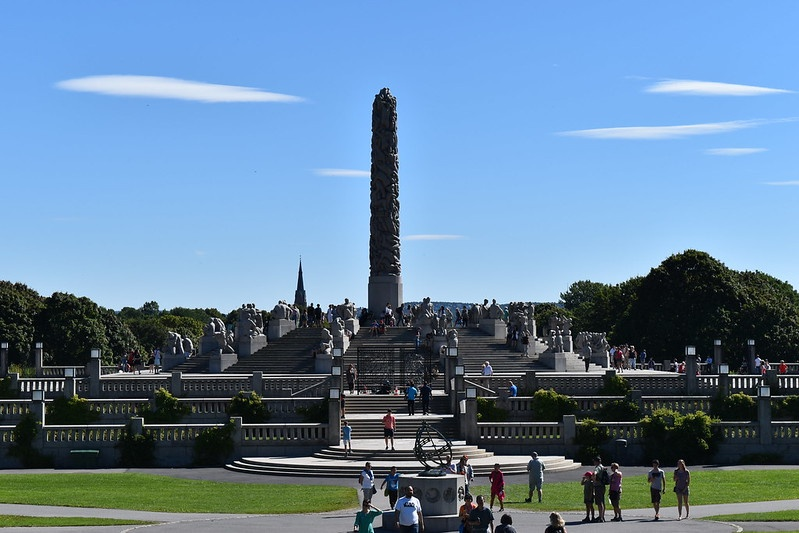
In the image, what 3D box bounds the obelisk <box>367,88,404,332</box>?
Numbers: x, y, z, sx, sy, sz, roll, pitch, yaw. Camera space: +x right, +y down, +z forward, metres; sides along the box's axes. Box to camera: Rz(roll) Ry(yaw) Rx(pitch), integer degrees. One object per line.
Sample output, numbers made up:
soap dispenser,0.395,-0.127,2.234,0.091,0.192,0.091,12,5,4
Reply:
obelisk,-1.155,-5.024,131.551,2.318,18.229,2.937,1,-11,-2
